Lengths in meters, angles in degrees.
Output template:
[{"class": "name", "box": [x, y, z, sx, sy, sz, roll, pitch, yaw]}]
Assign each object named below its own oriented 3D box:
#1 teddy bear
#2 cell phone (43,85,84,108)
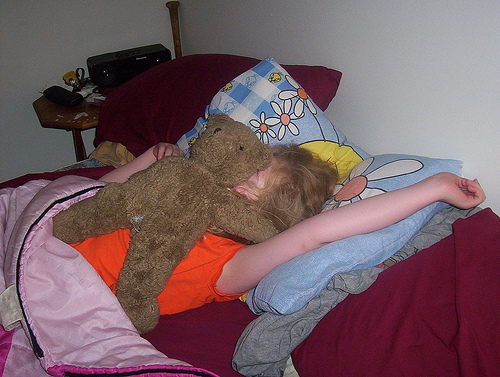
[{"class": "teddy bear", "box": [-0.246, 0.142, 1.335, 0.618, 0.241, 0.500, -34, 79, -16]}, {"class": "cell phone", "box": [-0.900, -0.452, 2.034, 0.178, 0.053, 0.098, 20, 42, 17]}]
